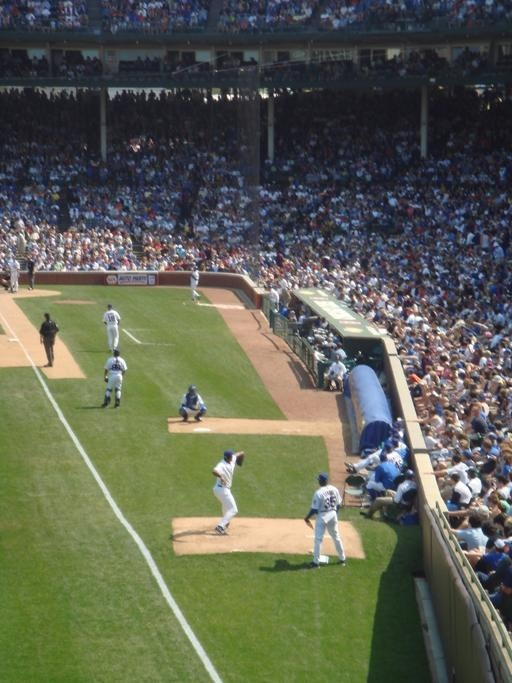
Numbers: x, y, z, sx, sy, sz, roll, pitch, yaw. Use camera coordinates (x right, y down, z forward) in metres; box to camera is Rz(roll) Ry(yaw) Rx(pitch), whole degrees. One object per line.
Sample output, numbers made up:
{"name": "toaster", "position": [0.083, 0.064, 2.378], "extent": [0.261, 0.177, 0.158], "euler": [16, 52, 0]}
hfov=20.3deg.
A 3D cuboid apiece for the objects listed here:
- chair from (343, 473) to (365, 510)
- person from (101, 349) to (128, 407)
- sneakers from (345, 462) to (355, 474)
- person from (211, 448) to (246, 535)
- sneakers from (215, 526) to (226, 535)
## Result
{"name": "chair", "position": [2.193, 3.317, 31.932], "extent": [0.447, 0.982, 0.637], "euler": [1, 4, 0]}
{"name": "person", "position": [-3.553, 0.861, 36.249], "extent": [0.466, 1.556, 0.442], "euler": [3, 20, -12]}
{"name": "sneakers", "position": [2.173, 2.952, 33.180], "extent": [0.145, 0.436, 0.135], "euler": [-16, 44, -7]}
{"name": "person", "position": [-0.576, 3.276, 30.378], "extent": [0.476, 1.426, 0.959], "euler": [-4, 37, -7]}
{"name": "sneakers", "position": [-0.721, 3.914, 29.529], "extent": [0.088, 0.142, 0.277], "euler": [-2, 16, -16]}
